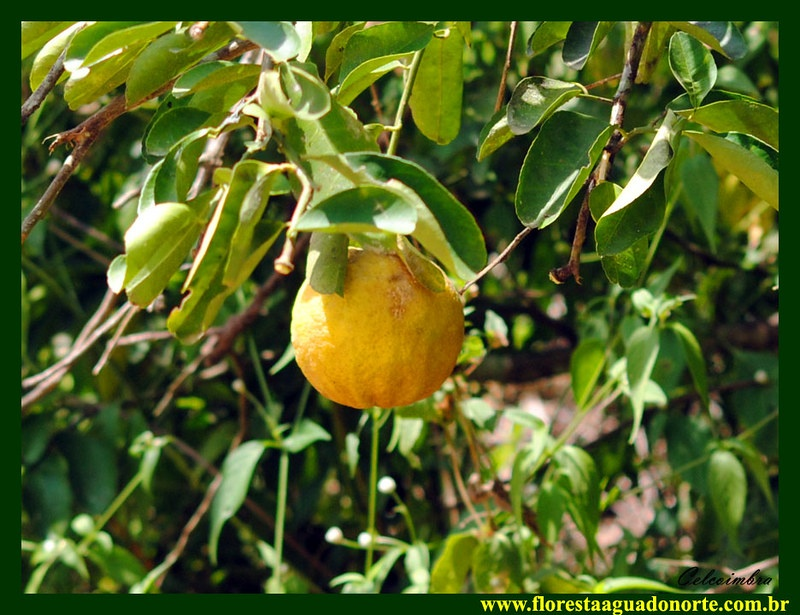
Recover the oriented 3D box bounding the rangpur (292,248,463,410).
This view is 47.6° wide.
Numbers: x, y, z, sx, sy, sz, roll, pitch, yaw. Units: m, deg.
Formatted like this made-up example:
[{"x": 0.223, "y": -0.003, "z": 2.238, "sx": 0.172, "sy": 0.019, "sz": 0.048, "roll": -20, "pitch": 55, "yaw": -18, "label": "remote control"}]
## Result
[{"x": -0.042, "y": 0.041, "z": 1.610, "sx": 0.289, "sy": 0.291, "sz": 0.291, "roll": -1, "pitch": 4, "yaw": -4, "label": "rangpur"}]
